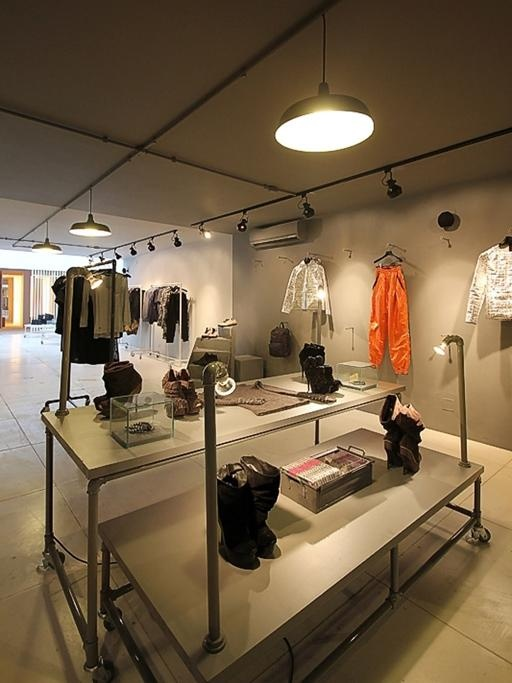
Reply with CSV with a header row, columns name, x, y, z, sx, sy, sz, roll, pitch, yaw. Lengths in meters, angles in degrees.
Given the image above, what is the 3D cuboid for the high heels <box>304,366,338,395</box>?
name,x,y,z,sx,sy,sz,roll,pitch,yaw
high heels,0.392,0.224,2.917,0.186,0.182,0.134,-5,6,-12

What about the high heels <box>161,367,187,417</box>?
name,x,y,z,sx,sy,sz,roll,pitch,yaw
high heels,-0.402,0.245,2.390,0.094,0.118,0.286,1,38,-31

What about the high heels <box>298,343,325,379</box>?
name,x,y,z,sx,sy,sz,roll,pitch,yaw
high heels,0.377,0.120,3.384,0.196,0.246,0.222,1,0,-27

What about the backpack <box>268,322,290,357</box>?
name,x,y,z,sx,sy,sz,roll,pitch,yaw
backpack,0.314,0.000,6.193,0.261,0.350,0.190,2,11,3

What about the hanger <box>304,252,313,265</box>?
name,x,y,z,sx,sy,sz,roll,pitch,yaw
hanger,0.630,-0.984,5.628,0.122,0.136,0.071,-5,-12,44
